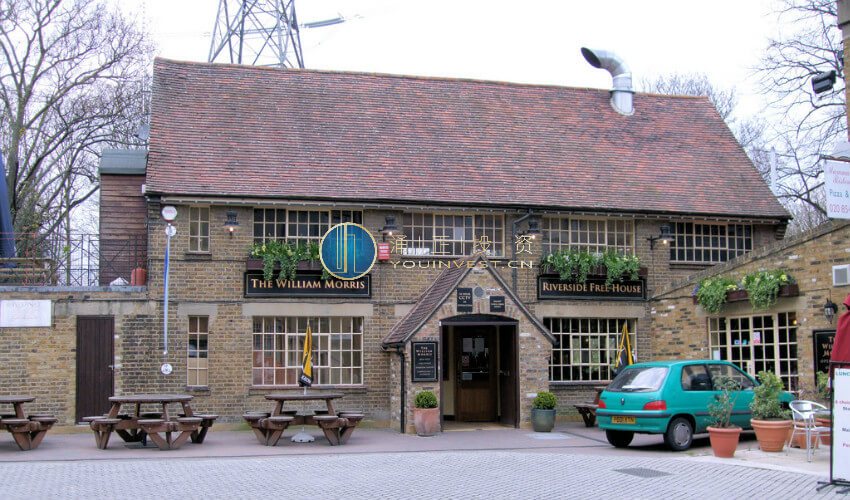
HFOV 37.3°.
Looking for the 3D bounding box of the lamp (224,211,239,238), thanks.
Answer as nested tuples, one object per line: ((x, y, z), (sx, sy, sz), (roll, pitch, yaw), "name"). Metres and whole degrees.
((-7.274, -0.992, 47.657), (0.489, 0.975, 0.151), (4, -10, -22), "lamp")

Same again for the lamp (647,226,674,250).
((9.500, -0.491, 50.363), (0.815, 1.046, 1.056), (3, -6, -14), "lamp")

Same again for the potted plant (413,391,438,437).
((0.062, 5.923, 45.941), (0.892, 1.616, 0.551), (1, -9, -4), "potted plant")

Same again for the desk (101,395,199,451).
((-9.735, 6.042, 44.529), (4.578, 1.787, 4.742), (1, -4, -7), "desk")

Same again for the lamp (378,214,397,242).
((-1.322, -0.831, 48.879), (0.716, 0.919, 0.979), (2, -4, -12), "lamp")

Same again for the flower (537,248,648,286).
((6.521, 0.618, 49.564), (3.894, 1.413, 0.607), (1, -9, -7), "flower")

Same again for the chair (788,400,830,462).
((13.221, 5.941, 42.124), (1.822, 2.185, 1.616), (1, -8, -15), "chair")

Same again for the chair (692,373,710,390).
((9.489, 4.519, 43.291), (0.510, 0.461, 0.273), (2, -19, -5), "chair")

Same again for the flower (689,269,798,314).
((11.810, 1.447, 46.506), (0.555, 1.358, 3.906), (9, -13, -43), "flower")

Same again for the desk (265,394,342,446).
((-4.349, 5.467, 45.273), (2.109, 1.179, 2.075), (1, -12, -2), "desk")

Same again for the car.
((9.139, 5.446, 43.990), (5.922, 2.279, 3.176), (-2, -1, -23), "car")
